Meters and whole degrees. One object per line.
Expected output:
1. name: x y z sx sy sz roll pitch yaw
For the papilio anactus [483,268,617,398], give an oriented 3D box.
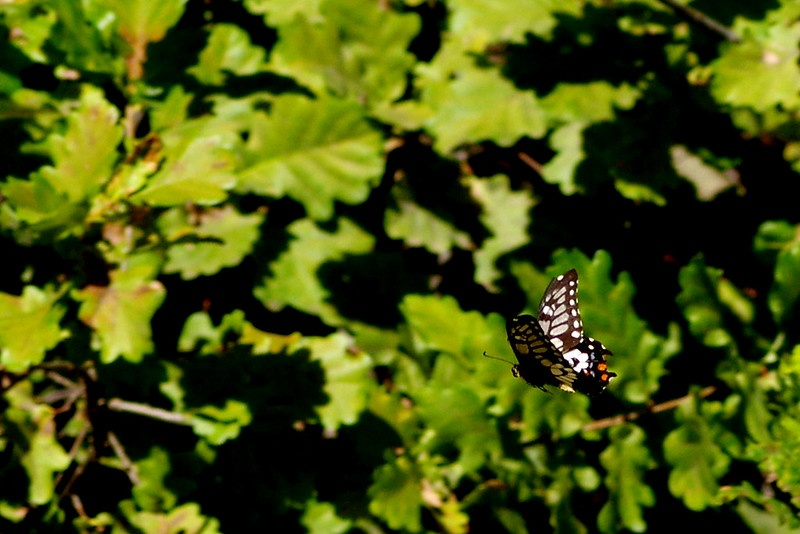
1. papilio anactus: 0.401 0.244 3.311 0.353 0.367 0.262 13 41 18
